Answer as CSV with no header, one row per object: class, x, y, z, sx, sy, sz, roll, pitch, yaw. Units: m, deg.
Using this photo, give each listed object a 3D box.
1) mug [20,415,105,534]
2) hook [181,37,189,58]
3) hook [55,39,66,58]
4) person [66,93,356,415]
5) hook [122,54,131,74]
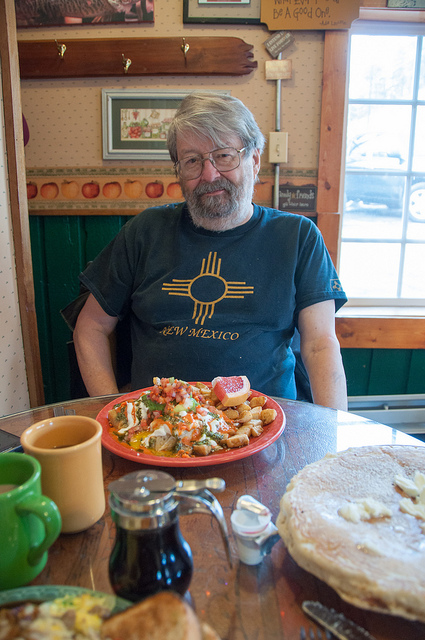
mug,-0.180,0.207,0.680,0.089,0.126,0.136,3,14,30
hook,-0.128,-1.287,2.306,0.030,0.077,0.036,4,17,19
hook,-0.730,-1.302,2.359,0.053,0.086,0.039,-1,16,4
person,-0.048,-0.229,1.651,0.969,1.019,0.545,1,16,11
hook,-0.409,-1.225,2.337,0.042,0.083,0.033,1,16,10
